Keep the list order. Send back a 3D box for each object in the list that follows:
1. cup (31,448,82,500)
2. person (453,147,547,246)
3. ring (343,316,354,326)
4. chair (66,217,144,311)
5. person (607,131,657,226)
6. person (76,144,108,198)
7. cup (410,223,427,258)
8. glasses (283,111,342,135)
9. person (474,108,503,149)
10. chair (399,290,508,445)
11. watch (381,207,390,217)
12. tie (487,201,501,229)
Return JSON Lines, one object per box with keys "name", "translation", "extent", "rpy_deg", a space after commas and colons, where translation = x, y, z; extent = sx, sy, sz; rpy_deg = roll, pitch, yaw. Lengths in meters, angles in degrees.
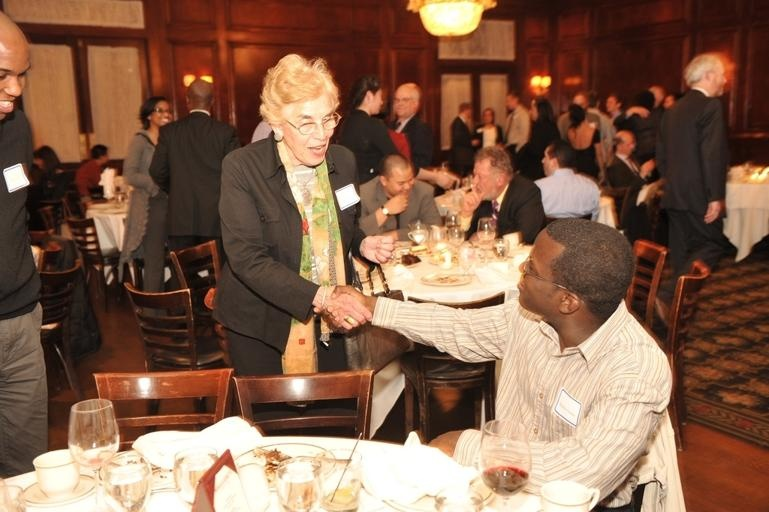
{"name": "cup", "translation": [-1.041, 0.725, 1.987], "extent": [0.162, 0.123, 0.161], "rpy_deg": [-12, -30, -7]}
{"name": "person", "translation": [0.863, -0.233, 4.695], "extent": [0.665, 1.080, 0.617], "rpy_deg": [-2, 12, 11]}
{"name": "ring", "translation": [-0.153, 0.277, 2.589], "extent": [0.013, 0.025, 0.045], "rpy_deg": [-9, 21, -35]}
{"name": "chair", "translation": [-2.961, 0.036, 6.554], "extent": [0.575, 0.855, 0.479], "rpy_deg": [-9, 13, -40]}
{"name": "person", "translation": [2.973, -0.998, 7.430], "extent": [0.532, 1.011, 2.249], "rpy_deg": [2, 13, 20]}
{"name": "person", "translation": [-3.847, -1.122, 8.057], "extent": [0.422, 0.638, 1.335], "rpy_deg": [-8, 13, -23]}
{"name": "cup", "translation": [0.243, -0.143, 4.469], "extent": [0.163, 0.194, 0.121], "rpy_deg": [2, 10, 14]}
{"name": "glasses", "translation": [-0.269, -0.561, 2.617], "extent": [0.275, 0.087, 0.126], "rpy_deg": [-13, 16, -43]}
{"name": "person", "translation": [1.800, -1.999, 10.509], "extent": [0.470, 0.972, 0.288], "rpy_deg": [4, 33, 18]}
{"name": "chair", "translation": [0.355, 0.709, 3.495], "extent": [0.495, 0.705, 0.456], "rpy_deg": [0, 2, -3]}
{"name": "watch", "translation": [0.007, -0.304, 4.288], "extent": [0.042, 0.060, 0.055], "rpy_deg": [-22, 24, -8]}
{"name": "tie", "translation": [0.851, -0.317, 4.670], "extent": [0.067, 0.178, 0.134], "rpy_deg": [1, -11, -43]}
